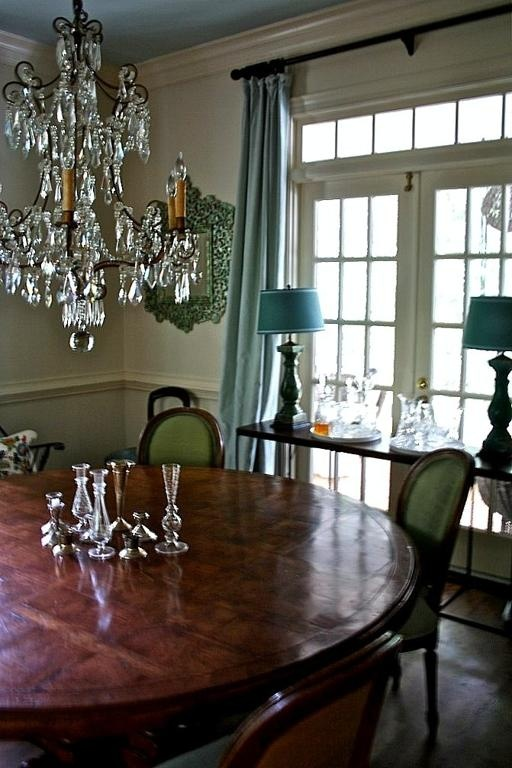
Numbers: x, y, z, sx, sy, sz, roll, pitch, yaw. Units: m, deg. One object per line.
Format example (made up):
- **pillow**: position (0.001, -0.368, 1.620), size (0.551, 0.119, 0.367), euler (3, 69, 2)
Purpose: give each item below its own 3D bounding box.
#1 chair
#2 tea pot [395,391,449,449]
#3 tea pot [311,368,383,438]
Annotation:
- **chair**: position (0.025, 0.685, 2.860), size (1.169, 0.729, 0.838), euler (0, -1, 38)
- **tea pot**: position (0.765, 0.171, 2.857), size (0.234, 0.234, 0.238), euler (-2, -7, 0)
- **tea pot**: position (0.495, 0.065, 3.221), size (0.352, 0.391, 0.343), euler (1, 4, 0)
